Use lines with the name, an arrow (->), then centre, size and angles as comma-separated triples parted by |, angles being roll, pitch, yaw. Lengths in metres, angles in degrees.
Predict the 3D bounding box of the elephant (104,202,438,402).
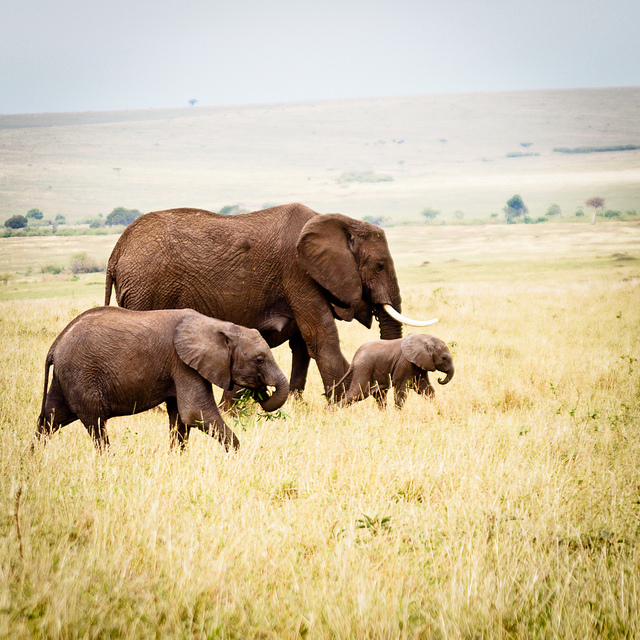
elephant -> -0.677, -0.412, 9.123 | 3.793, 2.926, 1.856 | 0, 8, -4

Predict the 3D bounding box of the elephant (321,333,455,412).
elephant -> 0.825, 0.594, 8.166 | 1.303, 0.903, 0.562 | -6, 11, -4

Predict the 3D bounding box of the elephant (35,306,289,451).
elephant -> -1.427, 0.569, 6.474 | 2.198, 1.553, 0.942 | 0, 19, -13
